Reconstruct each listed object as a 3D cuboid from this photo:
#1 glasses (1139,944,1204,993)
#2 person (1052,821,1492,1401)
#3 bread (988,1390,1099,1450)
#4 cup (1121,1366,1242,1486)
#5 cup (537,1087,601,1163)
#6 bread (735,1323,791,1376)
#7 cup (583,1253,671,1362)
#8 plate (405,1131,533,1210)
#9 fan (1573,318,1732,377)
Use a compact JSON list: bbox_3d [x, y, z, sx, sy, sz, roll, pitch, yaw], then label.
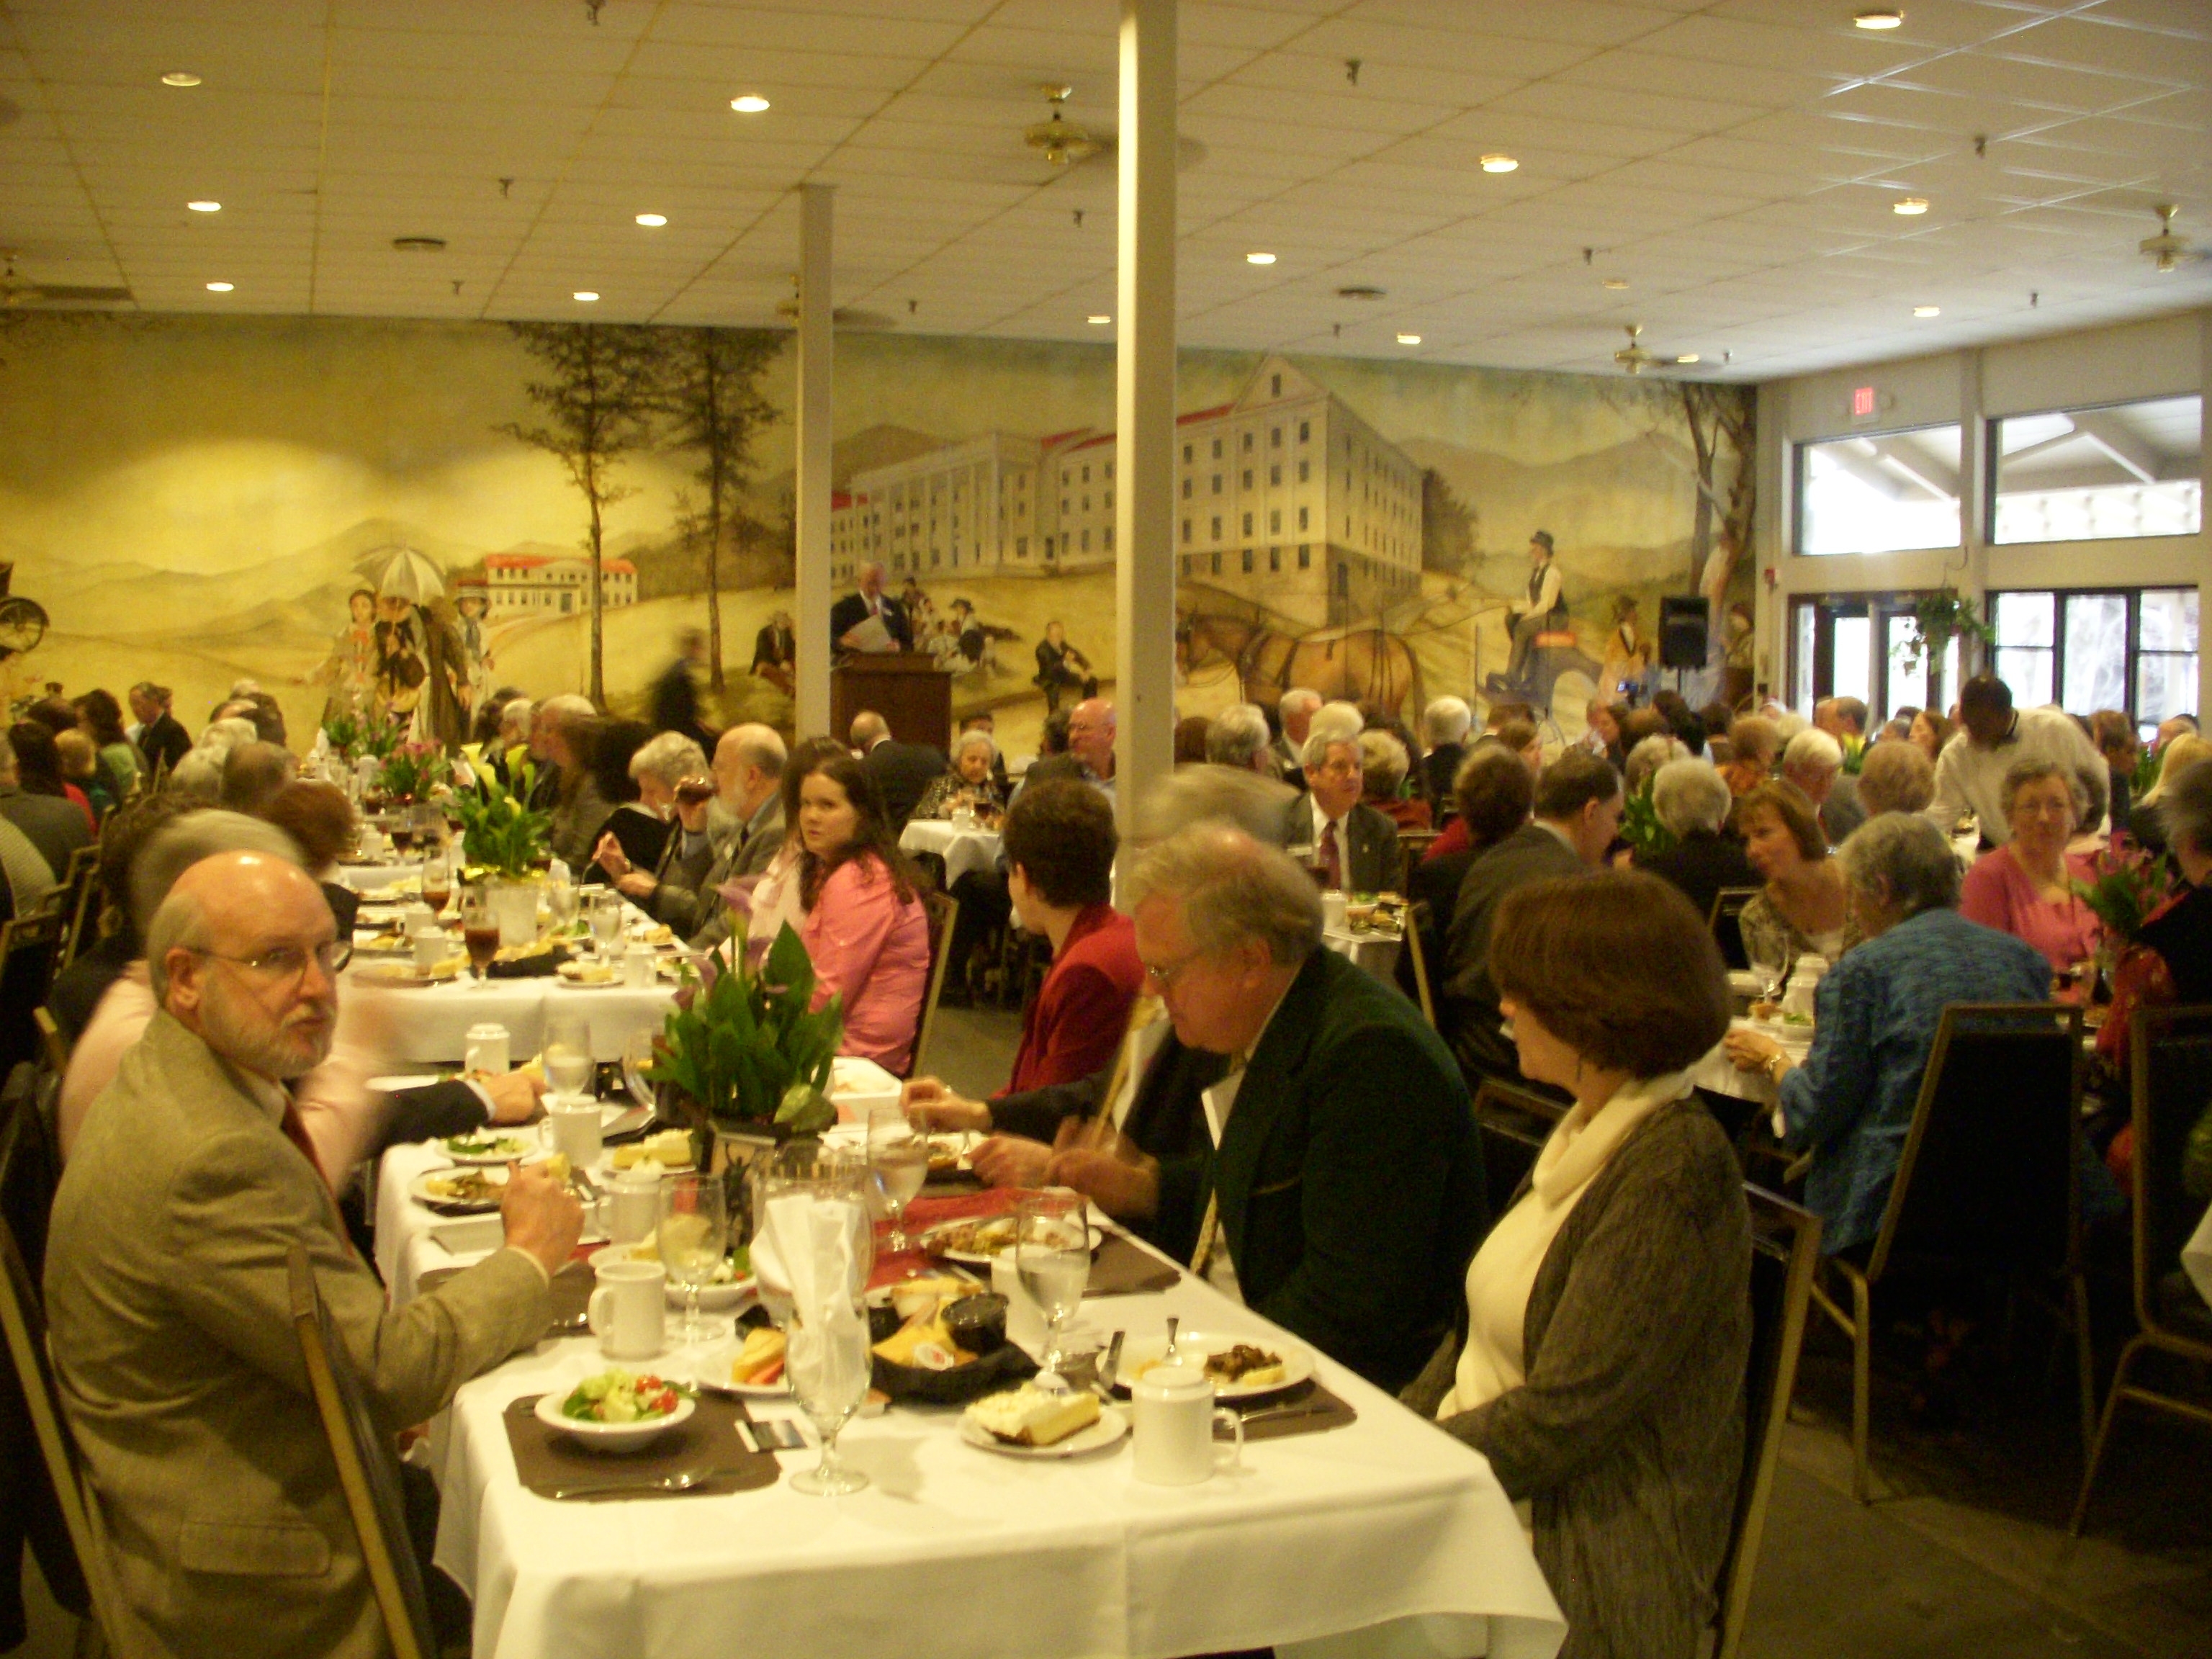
[{"bbox_3d":[0.101,0.227,2.801,0.076,0.024,0.073,-24,2,-22],"label":"glasses"},{"bbox_3d":[0.128,0.504,3.250,0.721,1.344,0.797,-3,-7,-7],"label":"person"},{"bbox_3d":[-0.082,0.718,2.122,0.077,0.022,0.073,-1,0,-34],"label":"bread"},{"bbox_3d":[0.085,0.690,2.022,0.141,0.132,0.094,2,-2,-1],"label":"cup"},{"bbox_3d":[-1.015,0.570,3.286,0.130,0.134,0.087,-1,1,-6],"label":"cup"},{"bbox_3d":[-0.467,0.689,2.333,0.038,0.057,0.073,0,2,5],"label":"bread"},{"bbox_3d":[-0.645,0.654,2.374,0.080,0.120,0.135,1,4,10],"label":"cup"},{"bbox_3d":[-1.140,0.614,3.147,0.208,0.043,0.231,-8,12,-42],"label":"plate"},{"bbox_3d":[5.209,-4.641,16.702,1.134,0.525,1.325,-2,0,-2],"label":"fan"}]
